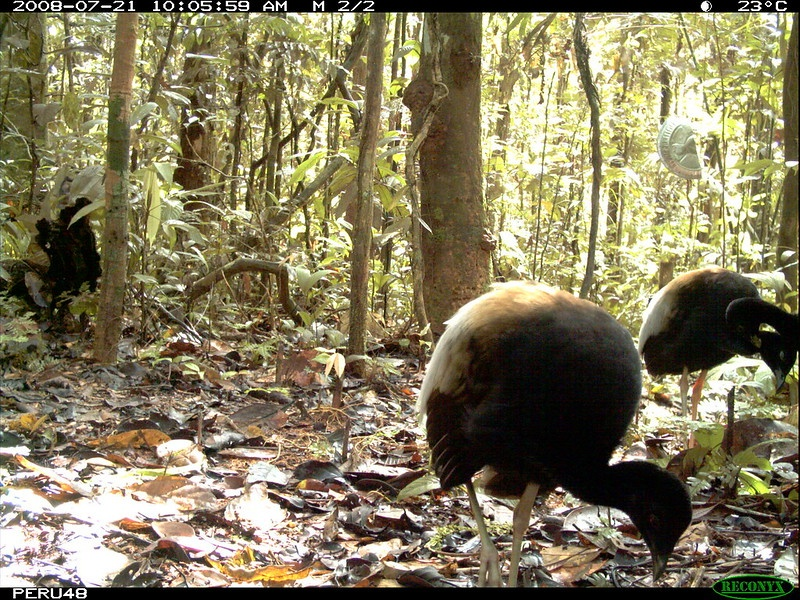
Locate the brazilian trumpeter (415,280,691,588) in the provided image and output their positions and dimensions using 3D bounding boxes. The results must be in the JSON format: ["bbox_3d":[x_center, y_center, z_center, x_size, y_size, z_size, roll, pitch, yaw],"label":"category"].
[{"bbox_3d":[0.731,0.636,3.744,1.197,1.241,0.416,3,-1,-2],"label":"brazilian trumpeter"}]
